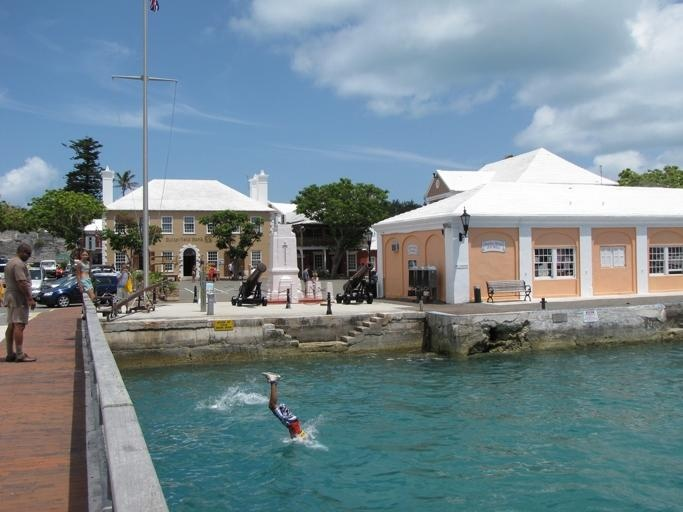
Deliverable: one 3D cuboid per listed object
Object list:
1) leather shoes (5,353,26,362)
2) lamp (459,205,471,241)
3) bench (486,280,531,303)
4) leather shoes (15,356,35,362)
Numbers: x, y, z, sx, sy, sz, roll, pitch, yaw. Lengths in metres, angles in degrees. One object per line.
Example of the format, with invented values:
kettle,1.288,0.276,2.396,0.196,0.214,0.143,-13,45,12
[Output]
leather shoes,-7.222,2.242,14.910,0.373,0.150,0.180,0,1,-1
lamp,5.171,-1.282,28.249,0.449,1.334,0.987,1,8,11
bench,7.145,1.486,28.855,2.204,0.832,0.873,-2,8,-16
leather shoes,-7.050,2.288,15.004,0.386,0.150,0.144,0,4,-13
